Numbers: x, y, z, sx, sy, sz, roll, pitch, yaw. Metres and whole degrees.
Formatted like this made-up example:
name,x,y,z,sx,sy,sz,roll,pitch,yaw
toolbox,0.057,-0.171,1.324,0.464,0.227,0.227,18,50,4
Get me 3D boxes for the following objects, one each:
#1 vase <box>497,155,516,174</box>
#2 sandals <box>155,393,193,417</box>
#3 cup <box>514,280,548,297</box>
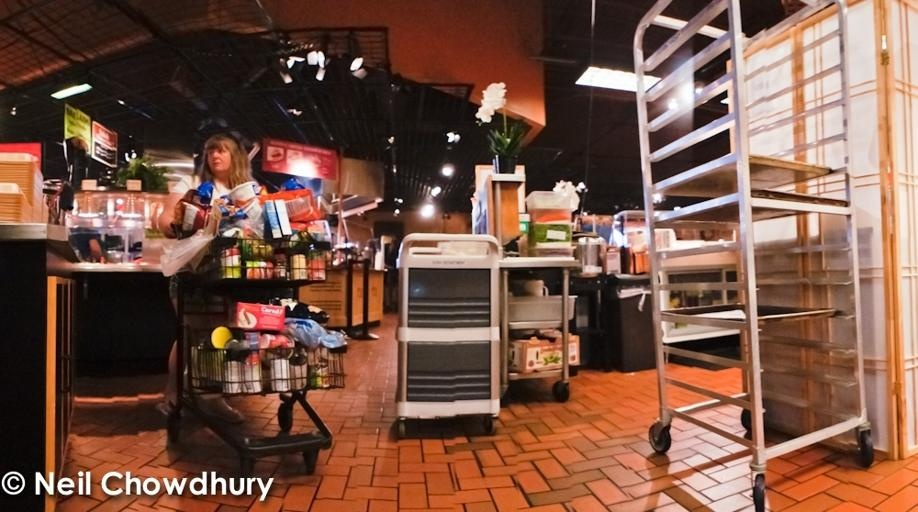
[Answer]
name,x,y,z,sx,sy,sz,roll,pitch,yaw
vase,0.490,-0.941,6.599,0.201,0.130,0.191,0,-12,4
sandals,-2.718,1.395,5.979,0.306,0.131,0.383,10,-43,-45
cup,0.809,0.371,6.930,0.249,0.253,0.227,0,-16,0
